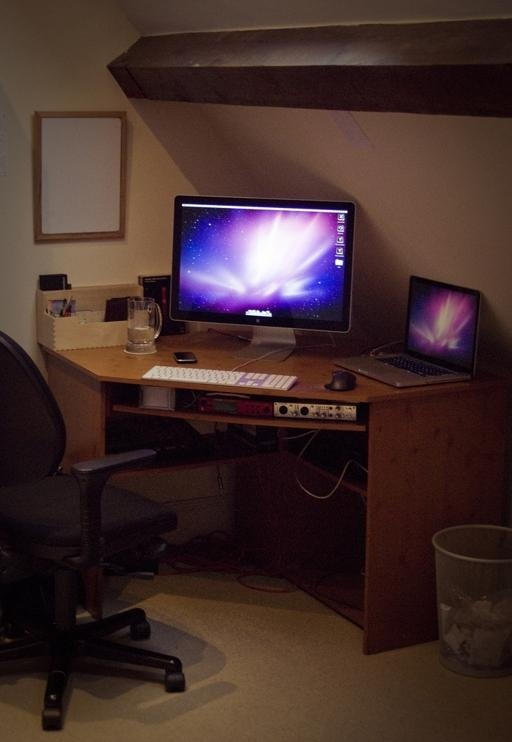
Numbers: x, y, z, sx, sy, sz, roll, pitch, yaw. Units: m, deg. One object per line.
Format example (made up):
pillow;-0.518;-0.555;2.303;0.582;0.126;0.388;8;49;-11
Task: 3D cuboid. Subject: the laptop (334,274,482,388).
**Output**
laptop;0.453;-0.123;1.835;0.291;0.269;0.354;-6;13;-26

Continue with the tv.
tv;0.025;-0.332;2.085;0.547;0.494;0.152;5;15;11

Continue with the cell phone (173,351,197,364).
cell phone;-0.232;-0.044;1.983;0.087;0.020;0.151;1;14;-2

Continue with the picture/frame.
picture/frame;-0.629;-0.695;2.141;0.430;0.547;0.036;-7;18;-34
